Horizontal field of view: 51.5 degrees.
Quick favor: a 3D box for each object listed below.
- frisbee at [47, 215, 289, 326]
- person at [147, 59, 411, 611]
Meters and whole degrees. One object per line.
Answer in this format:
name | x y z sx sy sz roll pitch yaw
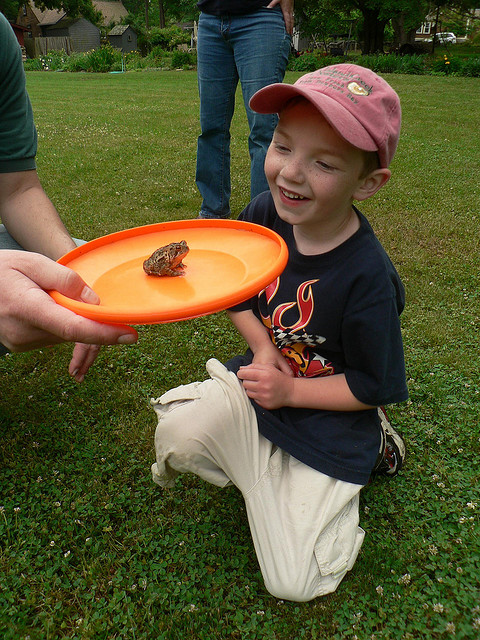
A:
frisbee | -0.238 -0.179 1.833 0.625 0.105 0.618 -5 30 -1
person | 0.183 0.023 1.726 0.795 1.649 0.953 11 28 21
